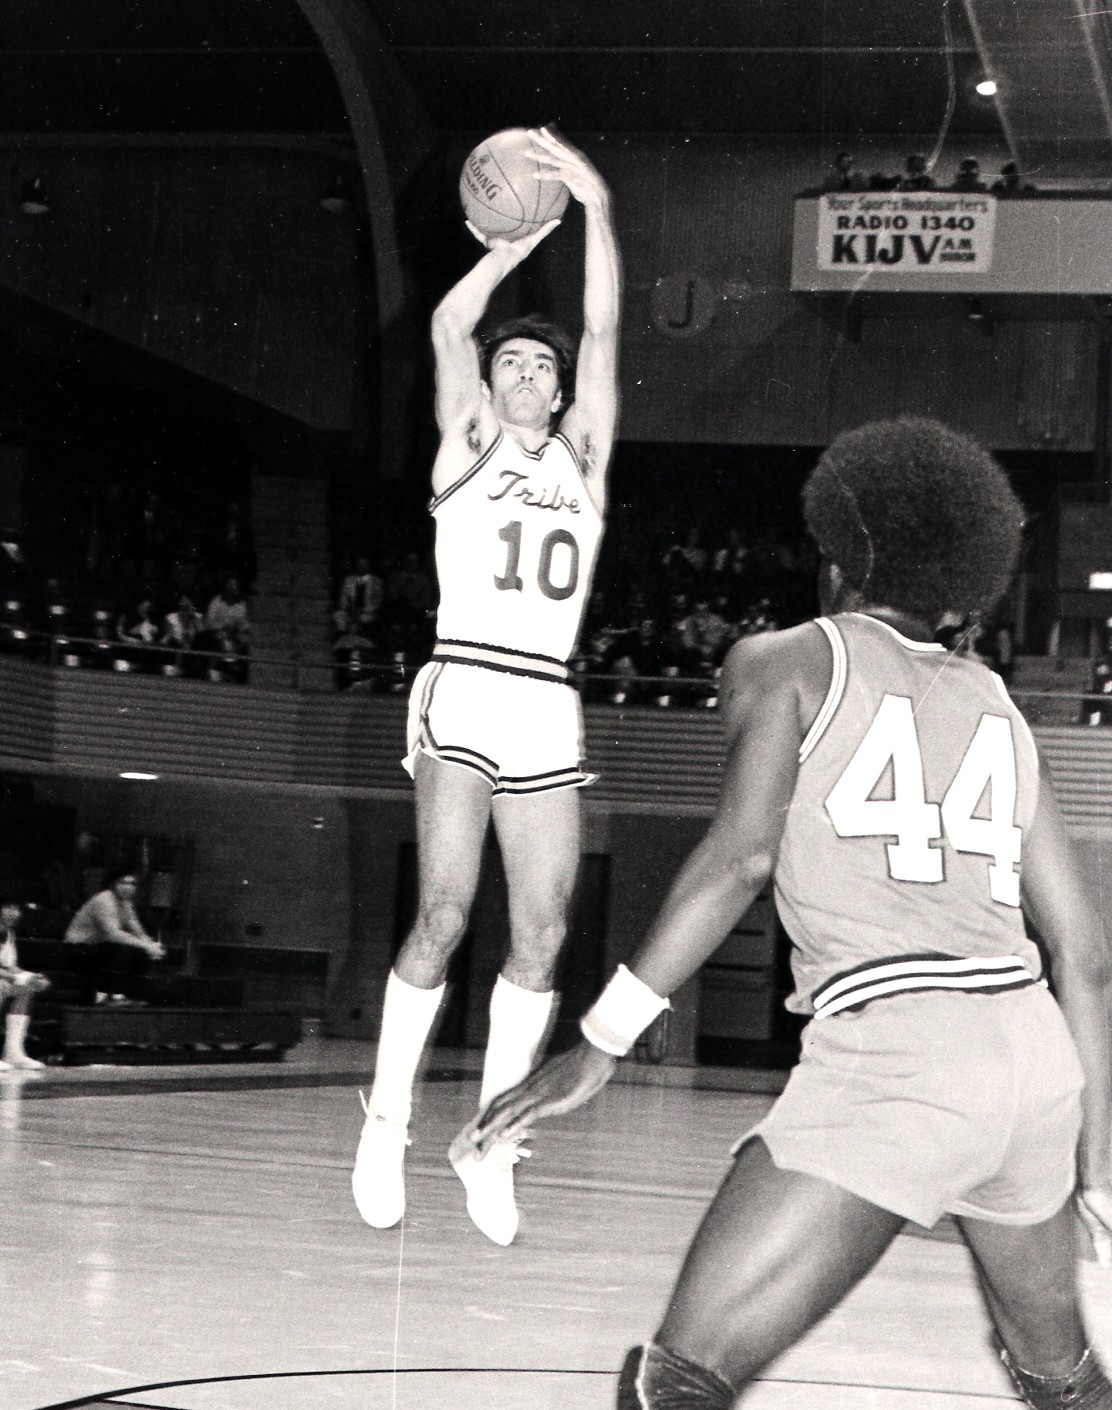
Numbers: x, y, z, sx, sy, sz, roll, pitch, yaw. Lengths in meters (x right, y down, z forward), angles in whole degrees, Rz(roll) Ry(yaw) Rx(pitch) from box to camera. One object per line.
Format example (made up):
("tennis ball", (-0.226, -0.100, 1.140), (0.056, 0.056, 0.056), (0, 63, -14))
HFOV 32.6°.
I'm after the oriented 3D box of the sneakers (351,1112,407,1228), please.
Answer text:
("sneakers", (-0.209, 0.568, 2.342), (0.076, 0.195, 0.088), (1, -2, -1))
